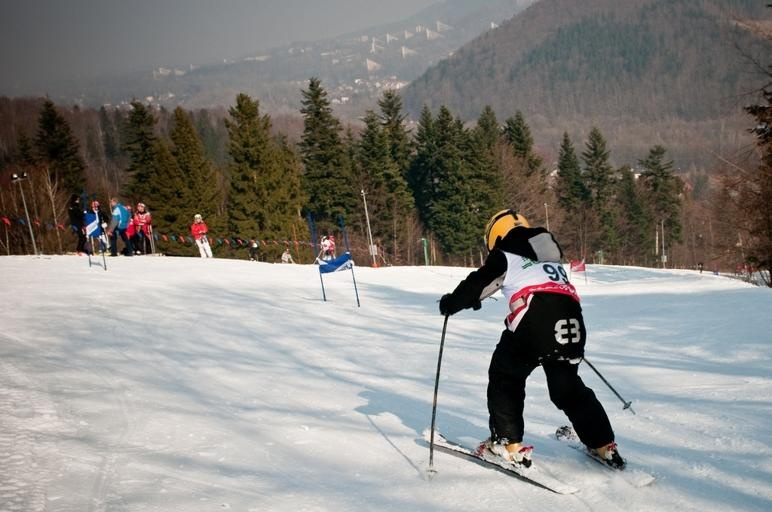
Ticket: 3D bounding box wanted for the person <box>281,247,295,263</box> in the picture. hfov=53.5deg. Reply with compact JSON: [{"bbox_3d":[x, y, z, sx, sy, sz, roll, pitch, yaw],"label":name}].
[{"bbox_3d":[-7.465,-0.132,58.181,0.476,1.060,0.803,-14,25,-36],"label":"person"}]
